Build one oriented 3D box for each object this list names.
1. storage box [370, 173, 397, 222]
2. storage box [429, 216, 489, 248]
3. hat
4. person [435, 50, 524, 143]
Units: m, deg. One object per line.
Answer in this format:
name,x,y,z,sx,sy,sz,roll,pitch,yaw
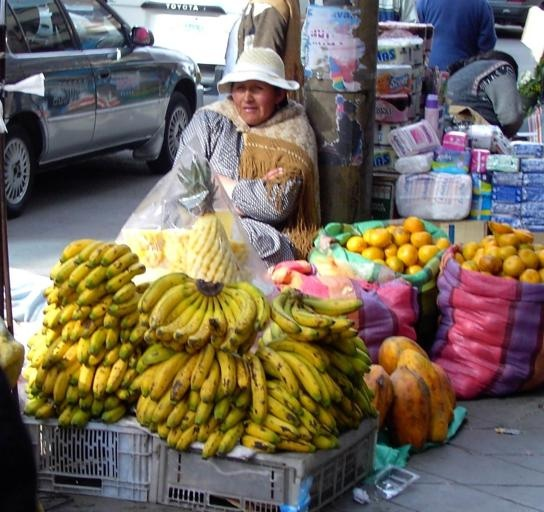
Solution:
storage box,1.014,-0.523,4.716,0.231,0.418,0.154,8,12,16
storage box,1.716,-0.233,4.663,0.260,0.237,0.307,-4,9,-15
hat,-0.109,-1.389,3.913,0.394,0.246,0.428,4,4,-3
person,2.668,-2.000,6.540,0.937,0.900,0.538,12,14,24
